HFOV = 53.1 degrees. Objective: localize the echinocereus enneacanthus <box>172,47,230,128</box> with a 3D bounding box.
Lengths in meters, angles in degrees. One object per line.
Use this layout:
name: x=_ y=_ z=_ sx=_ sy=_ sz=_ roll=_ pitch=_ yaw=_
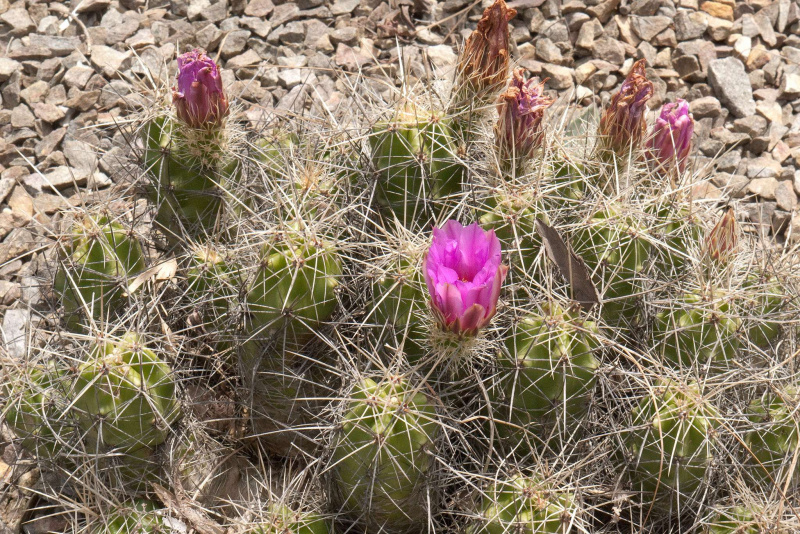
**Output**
echinocereus enneacanthus: x=-0.638 y=-0.574 z=2.597 sx=0.152 sy=0.263 sz=0.168 roll=17 pitch=42 yaw=28
